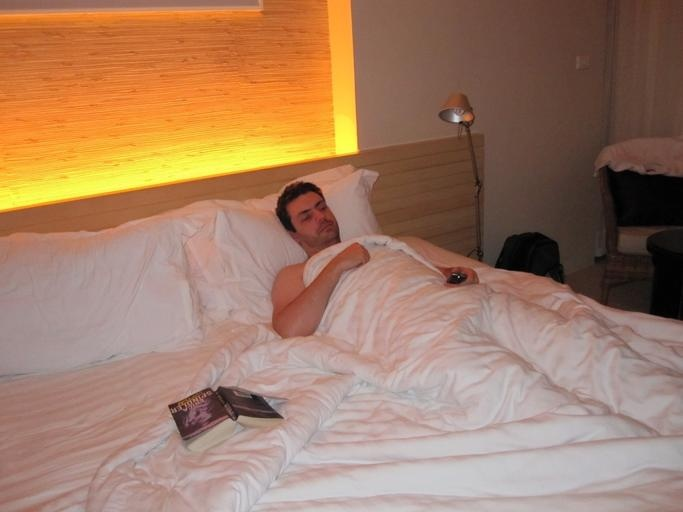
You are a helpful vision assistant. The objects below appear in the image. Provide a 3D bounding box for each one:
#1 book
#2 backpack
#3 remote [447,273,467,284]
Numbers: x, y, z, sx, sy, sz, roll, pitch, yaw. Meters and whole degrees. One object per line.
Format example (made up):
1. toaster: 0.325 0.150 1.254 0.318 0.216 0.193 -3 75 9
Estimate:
1. book: -0.380 0.502 1.568 0.344 0.124 0.188 -12 11 -11
2. backpack: 1.352 0.081 3.600 0.537 0.473 0.371 0 -4 -23
3. remote: 0.505 0.098 2.187 0.064 0.023 0.065 -27 0 -43
